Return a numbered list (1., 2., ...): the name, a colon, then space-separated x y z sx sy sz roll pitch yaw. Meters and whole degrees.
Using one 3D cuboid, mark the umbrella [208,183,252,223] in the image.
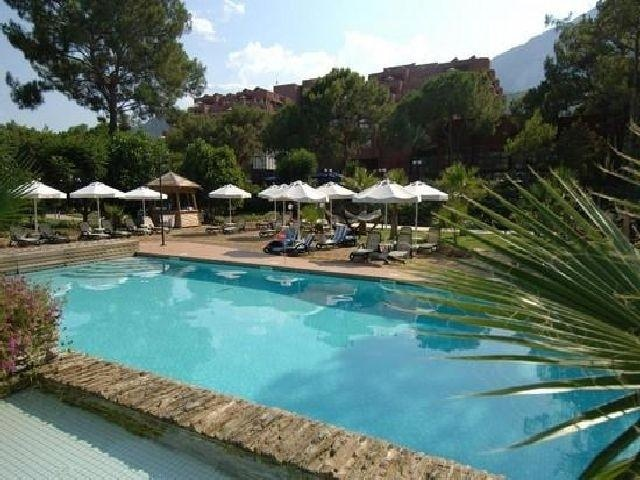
1. umbrella: -4.778 -1.887 28.181 1.825 2.074 1.985 -3 14 -7
